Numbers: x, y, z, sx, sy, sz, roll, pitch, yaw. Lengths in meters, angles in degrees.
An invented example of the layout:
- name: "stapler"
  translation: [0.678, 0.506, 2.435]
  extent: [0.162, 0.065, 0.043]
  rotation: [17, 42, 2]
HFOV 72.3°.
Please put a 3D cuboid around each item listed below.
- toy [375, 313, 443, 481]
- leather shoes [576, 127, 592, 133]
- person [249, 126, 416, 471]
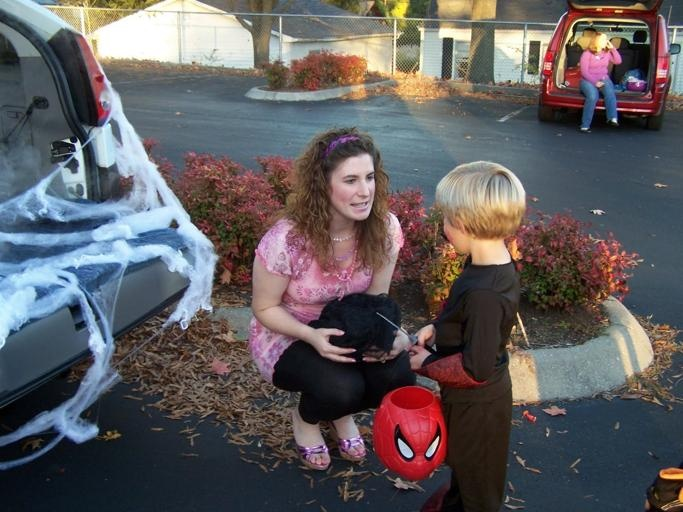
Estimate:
- name: "toy"
  translation: [0.299, 0.770, 2.275]
  extent: [0.288, 0.431, 0.472]
  rotation: [-6, 25, -11]
- name: "leather shoes"
  translation: [5.497, -2.858, 10.606]
  extent: [0.330, 0.143, 0.128]
  rotation: [2, 25, 5]
- name: "person"
  translation: [-0.069, 0.232, 2.613]
  extent: [0.888, 1.805, 0.716]
  rotation: [-3, 20, -13]
